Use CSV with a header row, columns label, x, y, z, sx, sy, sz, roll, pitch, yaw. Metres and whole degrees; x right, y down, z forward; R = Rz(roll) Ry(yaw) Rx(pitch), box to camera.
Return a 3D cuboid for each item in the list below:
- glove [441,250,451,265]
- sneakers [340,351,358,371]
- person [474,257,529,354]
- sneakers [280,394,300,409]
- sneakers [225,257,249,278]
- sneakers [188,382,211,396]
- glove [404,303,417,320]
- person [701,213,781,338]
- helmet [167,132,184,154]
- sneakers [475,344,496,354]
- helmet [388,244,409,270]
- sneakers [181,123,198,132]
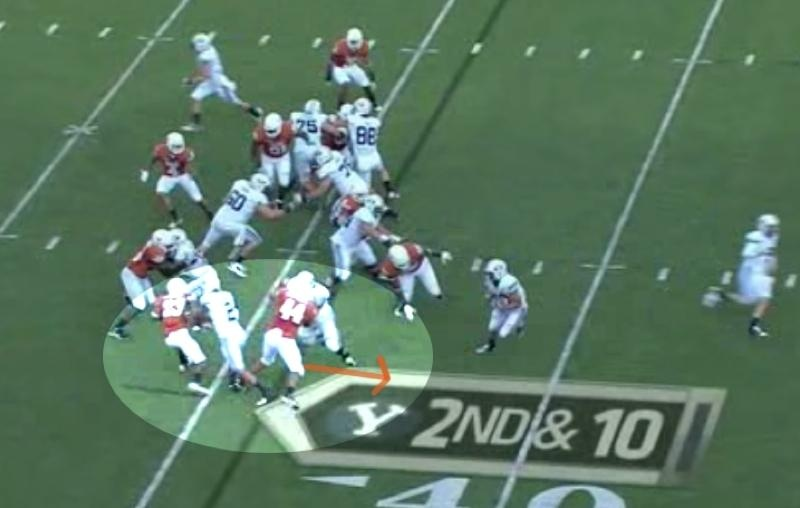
label,x,y,z,sx,sy,sz,roll,pitch,yaw
glove,0.734,0.044,22.265,0.158,0.212,0.214,-11,86,29
sneakers,-0.848,1.662,21.595,0.214,0.277,0.273,-25,48,-13
person,1.672,0.916,21.949,0.939,1.616,0.863,-19,30,-33
sneakers,-1.754,2.368,21.170,0.179,0.290,0.097,28,82,37
sneakers,-2.779,0.234,22.716,0.159,0.246,0.401,-51,30,5
sneakers,-3.236,2.164,21.373,0.328,0.083,0.191,24,49,5
glove,0.150,0.953,22.237,0.180,0.102,0.248,2,74,-21
person,5.736,0.301,22.104,1.025,1.399,1.551,7,49,16
helmet,-3.895,-1.993,22.789,0.322,0.145,0.455,-3,76,-21
sneakers,1.407,1.553,21.947,0.231,0.072,0.144,-1,10,-28
helmet,-0.040,-0.002,21.758,0.280,0.395,0.309,-44,50,-17
sneakers,-3.908,-2.378,24.639,0.133,0.137,0.333,7,4,-29
